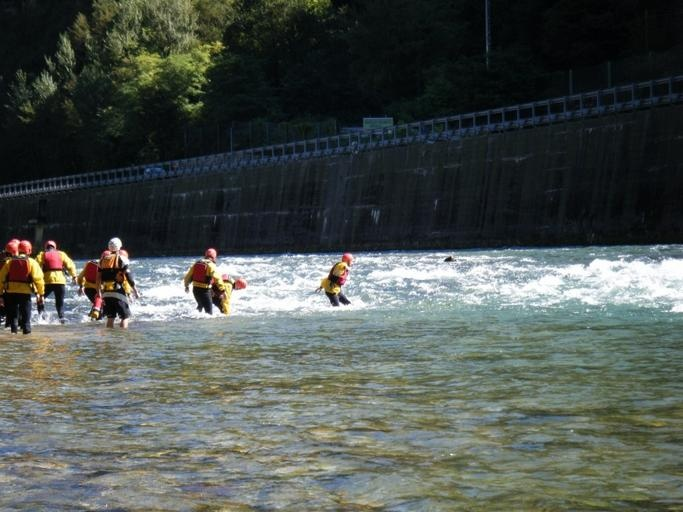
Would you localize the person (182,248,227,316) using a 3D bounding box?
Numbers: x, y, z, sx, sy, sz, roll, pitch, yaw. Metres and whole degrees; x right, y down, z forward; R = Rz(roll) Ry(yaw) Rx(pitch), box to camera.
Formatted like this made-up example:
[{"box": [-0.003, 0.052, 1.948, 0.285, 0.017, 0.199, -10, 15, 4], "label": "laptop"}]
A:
[{"box": [-3.438, 0.645, 26.977, 0.939, 1.738, 1.548, -5, 10, -7], "label": "person"}]

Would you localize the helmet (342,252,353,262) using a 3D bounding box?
[{"box": [0.126, 0.078, 27.829, 0.261, 0.231, 0.288, -3, 20, -2], "label": "helmet"}]

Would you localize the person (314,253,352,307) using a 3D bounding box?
[{"box": [-0.271, 0.731, 31.154, 1.097, 0.657, 1.368, -11, -38, -15], "label": "person"}]

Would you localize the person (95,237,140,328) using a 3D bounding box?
[{"box": [-5.191, 0.636, 25.025, 0.620, 2.152, 0.881, -14, 15, -43], "label": "person"}]

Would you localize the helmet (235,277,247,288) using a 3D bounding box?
[{"box": [-2.545, 0.686, 27.179, 0.269, 0.248, 0.270, 10, -27, -4], "label": "helmet"}]

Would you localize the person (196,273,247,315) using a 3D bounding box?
[{"box": [-2.974, 0.967, 27.189, 1.117, 1.028, 0.355, -33, -25, -18], "label": "person"}]
